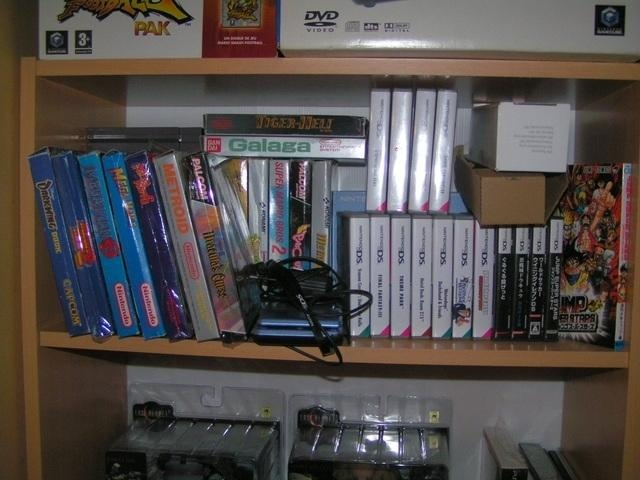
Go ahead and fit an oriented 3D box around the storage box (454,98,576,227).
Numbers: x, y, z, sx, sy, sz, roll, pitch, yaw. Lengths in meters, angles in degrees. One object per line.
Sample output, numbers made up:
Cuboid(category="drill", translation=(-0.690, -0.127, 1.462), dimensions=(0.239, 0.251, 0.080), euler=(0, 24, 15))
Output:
Cuboid(category="storage box", translation=(0.399, -0.178, 1.524), dimensions=(0.250, 0.304, 0.423), euler=(0, 19, 7))
